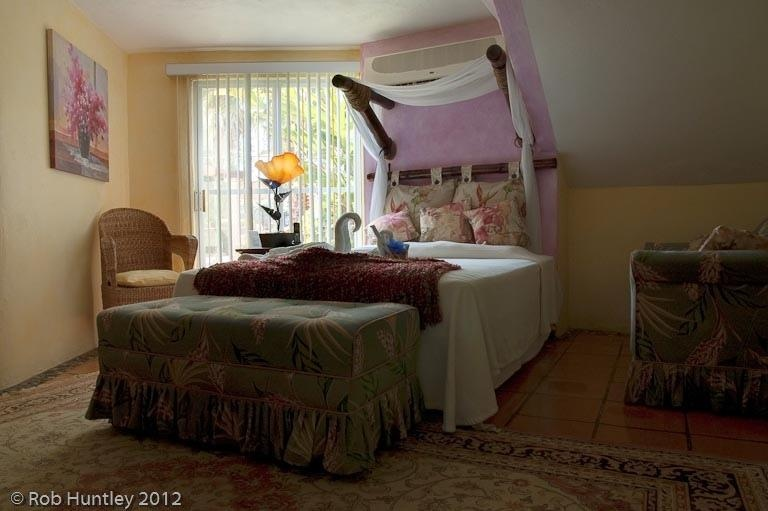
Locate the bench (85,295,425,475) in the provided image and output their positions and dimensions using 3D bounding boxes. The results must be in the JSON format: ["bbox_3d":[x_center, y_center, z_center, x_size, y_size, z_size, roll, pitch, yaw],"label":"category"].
[{"bbox_3d":[-0.770,0.665,3.117,1.523,0.581,0.889,-1,2,26],"label":"bench"}]

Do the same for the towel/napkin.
[{"bbox_3d":[-0.191,-0.127,4.452,0.631,0.289,0.632,3,6,44],"label":"towel/napkin"}]

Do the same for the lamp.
[{"bbox_3d":[-1.095,-0.545,5.540,0.525,0.927,0.517,6,-11,-29],"label":"lamp"}]
